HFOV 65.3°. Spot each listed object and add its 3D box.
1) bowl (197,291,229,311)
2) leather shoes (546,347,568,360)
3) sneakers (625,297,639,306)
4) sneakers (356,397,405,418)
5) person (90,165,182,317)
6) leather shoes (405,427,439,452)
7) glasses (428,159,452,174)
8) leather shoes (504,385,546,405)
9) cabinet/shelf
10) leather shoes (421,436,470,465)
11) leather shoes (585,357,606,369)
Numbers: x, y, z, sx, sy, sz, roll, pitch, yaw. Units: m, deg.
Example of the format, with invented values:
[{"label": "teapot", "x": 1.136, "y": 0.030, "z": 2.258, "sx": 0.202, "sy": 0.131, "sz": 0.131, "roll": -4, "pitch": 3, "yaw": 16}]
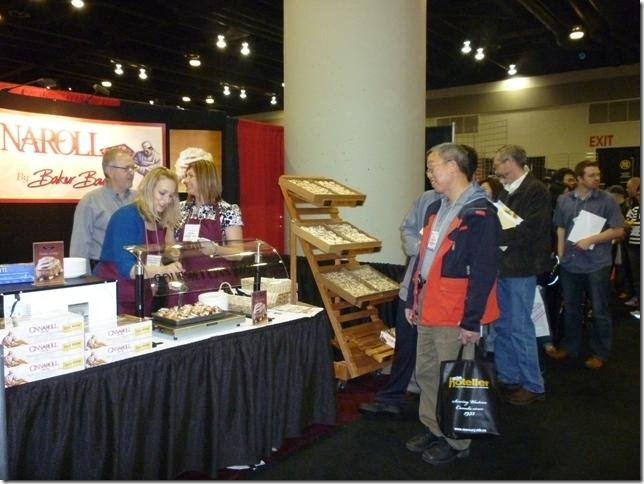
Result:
[{"label": "bowl", "x": -0.688, "y": 0.363, "z": 3.186, "sx": 0.130, "sy": 0.095, "sz": 0.129, "roll": 0, "pitch": 2, "yaw": 0}, {"label": "leather shoes", "x": 2.498, "y": 1.178, "z": 5.349, "sx": 0.154, "sy": 0.150, "sz": 0.083, "roll": -20, "pitch": -4, "yaw": 43}, {"label": "sneakers", "x": 4.564, "y": 0.883, "z": 7.386, "sx": 0.180, "sy": 0.081, "sz": 0.067, "roll": -3, "pitch": 4, "yaw": 22}, {"label": "sneakers", "x": 0.456, "y": 1.275, "z": 3.960, "sx": 0.356, "sy": 0.165, "sz": 0.140, "roll": 3, "pitch": -4, "yaw": 4}, {"label": "person", "x": -1.161, "y": 0.018, "z": 3.189, "sx": 0.548, "sy": 0.978, "sz": 0.531, "roll": -3, "pitch": 9, "yaw": -24}, {"label": "leather shoes", "x": 0.705, "y": 1.379, "z": 3.526, "sx": 0.263, "sy": 0.116, "sz": 0.096, "roll": -3, "pitch": 7, "yaw": -32}, {"label": "glasses", "x": 0.790, "y": -0.499, "z": 3.356, "sx": 0.123, "sy": 0.073, "sz": 0.100, "roll": 0, "pitch": 1, "yaw": 8}, {"label": "leather shoes", "x": 1.720, "y": 1.281, "z": 4.230, "sx": 0.311, "sy": 0.140, "sz": 0.141, "roll": 3, "pitch": 5, "yaw": -9}, {"label": "cabinet/shelf", "x": 0.180, "y": 0.274, "z": 4.410, "sx": 0.660, "sy": 1.629, "sz": 1.051, "roll": -9, "pitch": 14, "yaw": -41}, {"label": "leather shoes", "x": 0.807, "y": 1.373, "z": 3.388, "sx": 0.319, "sy": 0.219, "sz": 0.139, "roll": 1, "pitch": 1, "yaw": -5}, {"label": "leather shoes", "x": 2.713, "y": 1.204, "z": 5.017, "sx": 0.180, "sy": 0.105, "sz": 0.077, "roll": 2, "pitch": -38, "yaw": -15}]
